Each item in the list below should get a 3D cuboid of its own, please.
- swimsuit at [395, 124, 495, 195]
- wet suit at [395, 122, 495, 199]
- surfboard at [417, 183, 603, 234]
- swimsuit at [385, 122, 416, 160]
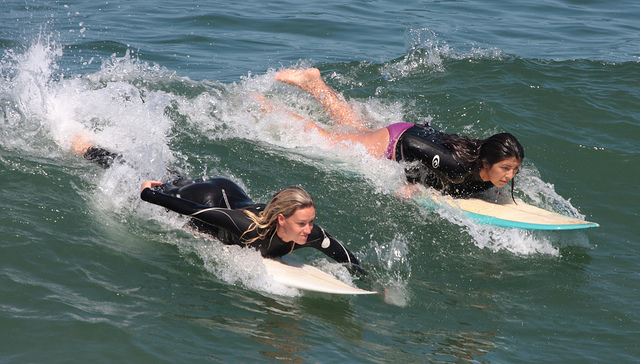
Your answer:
[{"bbox_3d":[2.396,-0.404,17.635,1.961,0.670,1.097,37,45,22],"label":"swimsuit"},{"bbox_3d":[2.534,-0.449,17.646,1.962,0.685,1.164,42,34,20],"label":"wet suit"},{"bbox_3d":[3.600,0.625,17.457,3.205,0.656,1.051,11,20,6],"label":"surfboard"},{"bbox_3d":[1.758,-0.877,18.159,0.771,0.728,0.582,11,6,-6],"label":"swimsuit"}]
